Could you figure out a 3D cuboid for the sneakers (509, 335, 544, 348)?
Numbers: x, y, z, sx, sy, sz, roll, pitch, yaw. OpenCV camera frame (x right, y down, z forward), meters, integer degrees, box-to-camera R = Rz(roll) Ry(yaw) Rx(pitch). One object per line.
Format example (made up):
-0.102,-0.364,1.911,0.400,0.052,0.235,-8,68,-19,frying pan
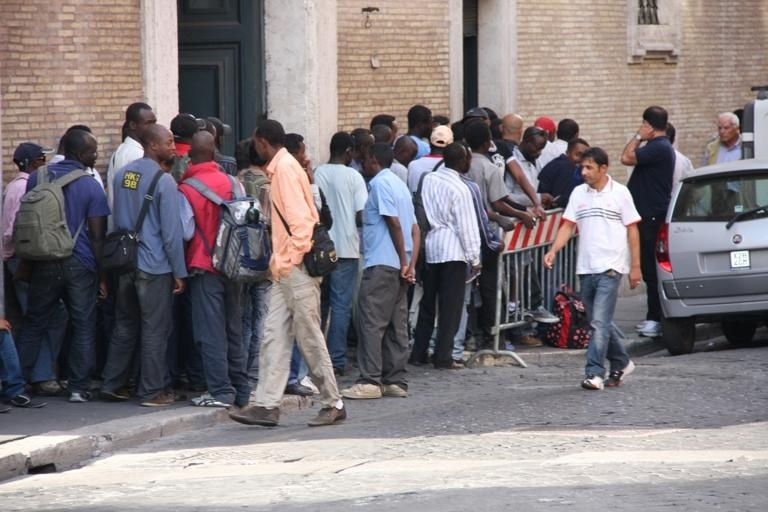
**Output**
1.741,1.065,16.885,0.407,0.143,0.141,1,1,4,sneakers

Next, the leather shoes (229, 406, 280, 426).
-1.235,1.576,13.335,0.511,0.195,0.181,9,-9,-14,leather shoes

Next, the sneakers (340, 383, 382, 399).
-0.234,1.437,14.466,0.454,0.183,0.153,3,-2,-11,sneakers

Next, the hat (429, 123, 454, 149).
0.662,-1.373,15.826,0.215,0.151,0.304,5,21,8,hat

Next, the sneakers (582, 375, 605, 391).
2.195,1.355,14.548,0.266,0.117,0.109,2,5,9,sneakers

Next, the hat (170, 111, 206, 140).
-2.134,-1.405,14.838,0.282,0.208,0.386,1,31,3,hat

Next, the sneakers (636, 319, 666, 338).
3.322,0.930,17.242,0.137,0.135,0.349,-3,-7,43,sneakers

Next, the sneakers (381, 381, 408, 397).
0.106,1.428,14.505,0.299,0.126,0.119,4,7,36,sneakers

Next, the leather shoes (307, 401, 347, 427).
-0.545,1.588,13.553,0.444,0.190,0.157,-4,2,-32,leather shoes

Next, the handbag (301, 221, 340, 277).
-0.608,-0.036,13.199,0.197,0.520,0.290,8,15,38,handbag

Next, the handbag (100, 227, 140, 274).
-2.593,-0.039,13.579,0.410,0.453,0.278,-8,-17,28,handbag

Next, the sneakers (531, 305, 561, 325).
1.956,0.735,16.540,0.346,0.126,0.176,7,-2,-42,sneakers

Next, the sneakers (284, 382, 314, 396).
-0.891,1.416,14.379,0.314,0.117,0.108,0,-2,-4,sneakers

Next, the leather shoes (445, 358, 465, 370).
0.804,1.246,15.658,0.262,0.159,0.085,-12,18,-37,leather shoes
